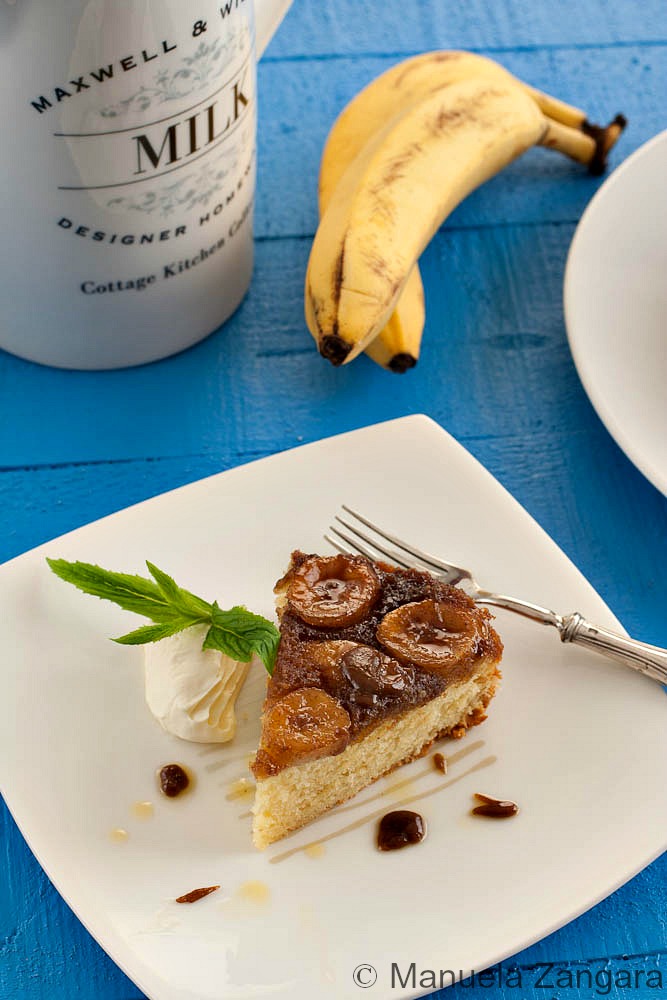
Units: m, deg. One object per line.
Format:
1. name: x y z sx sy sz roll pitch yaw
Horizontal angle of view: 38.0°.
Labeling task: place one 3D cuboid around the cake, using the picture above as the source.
1. cake: 0.030 0.202 0.919 0.199 0.093 0.250 28 55 23
